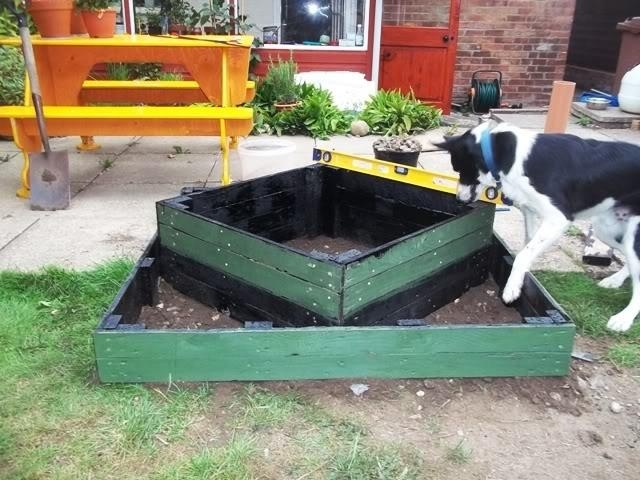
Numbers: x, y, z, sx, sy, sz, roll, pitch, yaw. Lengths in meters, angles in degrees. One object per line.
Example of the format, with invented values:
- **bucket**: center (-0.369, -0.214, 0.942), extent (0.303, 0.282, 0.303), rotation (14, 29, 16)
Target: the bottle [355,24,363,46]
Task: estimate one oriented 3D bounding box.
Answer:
- **bottle**: center (0.792, -4.131, 9.574), extent (0.178, 0.402, 0.197), rotation (2, 27, 4)
